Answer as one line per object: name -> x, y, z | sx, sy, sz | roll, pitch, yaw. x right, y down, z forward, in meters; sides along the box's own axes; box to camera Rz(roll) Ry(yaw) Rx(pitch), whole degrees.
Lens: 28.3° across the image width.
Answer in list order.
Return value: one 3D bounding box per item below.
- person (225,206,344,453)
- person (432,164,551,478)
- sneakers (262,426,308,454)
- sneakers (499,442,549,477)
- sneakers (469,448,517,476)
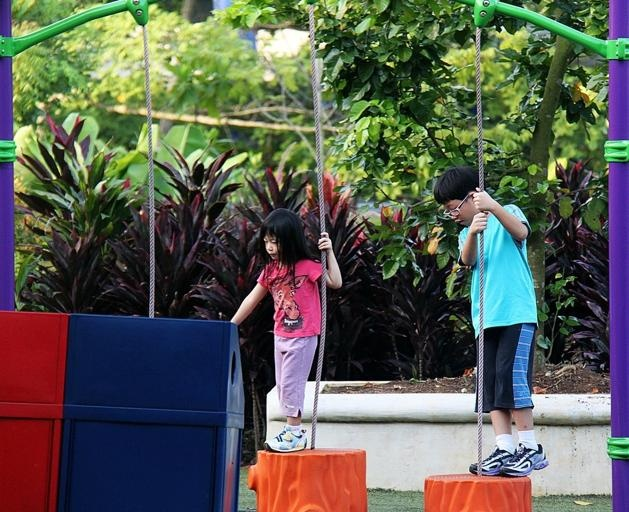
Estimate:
person -> -0.198, 0.463, 7.820 | 0.497, 1.499, 0.304 | -3, -7, 11
person -> 1.104, 0.379, 7.672 | 0.513, 1.924, 0.546 | -7, -9, 36
sneakers -> -0.167, 1.133, 7.677 | 0.301, 0.154, 0.111 | 5, -5, -36
sneakers -> 1.265, 1.227, 7.537 | 0.357, 0.190, 0.129 | -9, 7, -43
sneakers -> 1.073, 1.243, 7.551 | 0.305, 0.157, 0.122 | -3, -2, -11
